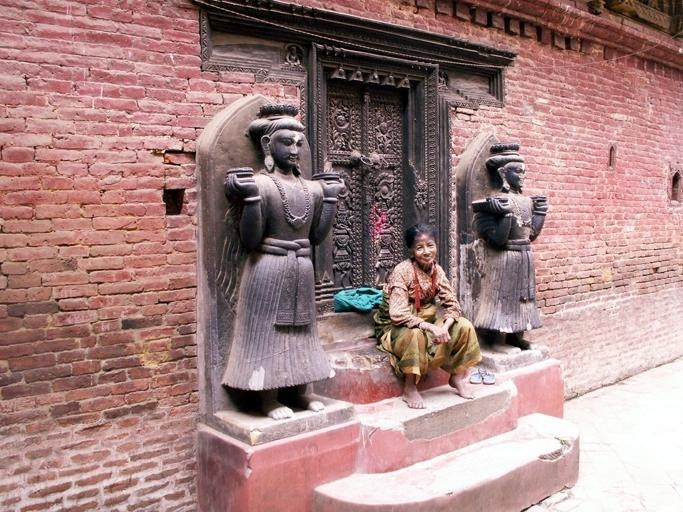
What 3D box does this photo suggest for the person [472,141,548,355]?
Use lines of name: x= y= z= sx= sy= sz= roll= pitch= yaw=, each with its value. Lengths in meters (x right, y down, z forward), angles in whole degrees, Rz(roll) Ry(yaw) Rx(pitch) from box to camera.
person: x=1.757 y=-0.104 z=5.482 sx=0.788 sy=2.165 sz=0.437 roll=-4 pitch=5 yaw=-31

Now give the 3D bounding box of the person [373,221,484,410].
person: x=0.731 y=0.618 z=4.651 sx=0.737 sy=1.239 sz=0.789 roll=-4 pitch=5 yaw=-26

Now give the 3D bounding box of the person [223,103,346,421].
person: x=-0.460 y=0.015 z=3.901 sx=0.922 sy=2.297 sz=0.514 roll=-3 pitch=5 yaw=-15
